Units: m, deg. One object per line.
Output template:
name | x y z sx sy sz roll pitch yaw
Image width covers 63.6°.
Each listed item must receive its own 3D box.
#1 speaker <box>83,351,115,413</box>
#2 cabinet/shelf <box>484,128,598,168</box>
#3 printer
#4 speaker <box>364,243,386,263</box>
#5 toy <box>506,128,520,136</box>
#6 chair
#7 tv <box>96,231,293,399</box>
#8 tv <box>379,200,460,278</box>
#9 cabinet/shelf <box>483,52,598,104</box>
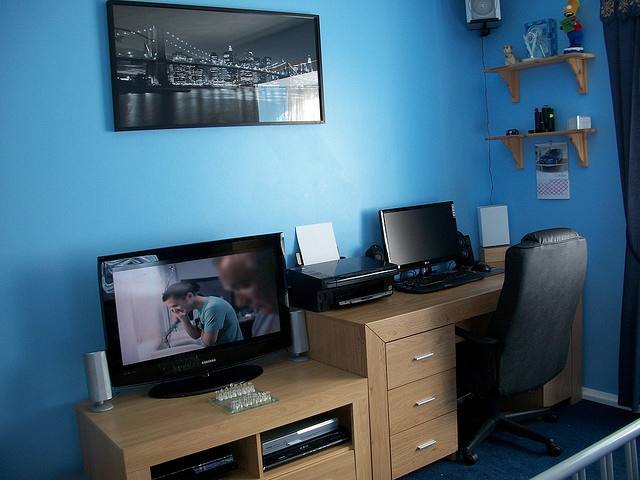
speaker | -1.064 0.659 2.447 0.118 0.287 0.159 -13 11 -27
cabinet/shelf | 1.538 -0.626 3.635 0.247 0.282 0.730 -14 11 -33
printer | 0.129 0.250 3.043 0.455 0.214 0.604 9 14 44
speaker | 0.352 0.082 3.320 0.093 0.175 0.136 -12 -14 41
toy | 1.379 -0.775 3.721 0.057 0.046 0.077 -10 -11 19
chair | 1.079 0.599 3.110 0.830 1.240 0.788 -4 4 -31
tv | -0.616 0.398 2.646 0.970 0.705 0.296 -7 7 -34
tv | 0.668 -0.024 3.458 0.658 0.418 0.060 -9 3 -33
cabinet/shelf | 1.507 -1.109 3.586 0.193 0.273 0.753 -16 16 -23
